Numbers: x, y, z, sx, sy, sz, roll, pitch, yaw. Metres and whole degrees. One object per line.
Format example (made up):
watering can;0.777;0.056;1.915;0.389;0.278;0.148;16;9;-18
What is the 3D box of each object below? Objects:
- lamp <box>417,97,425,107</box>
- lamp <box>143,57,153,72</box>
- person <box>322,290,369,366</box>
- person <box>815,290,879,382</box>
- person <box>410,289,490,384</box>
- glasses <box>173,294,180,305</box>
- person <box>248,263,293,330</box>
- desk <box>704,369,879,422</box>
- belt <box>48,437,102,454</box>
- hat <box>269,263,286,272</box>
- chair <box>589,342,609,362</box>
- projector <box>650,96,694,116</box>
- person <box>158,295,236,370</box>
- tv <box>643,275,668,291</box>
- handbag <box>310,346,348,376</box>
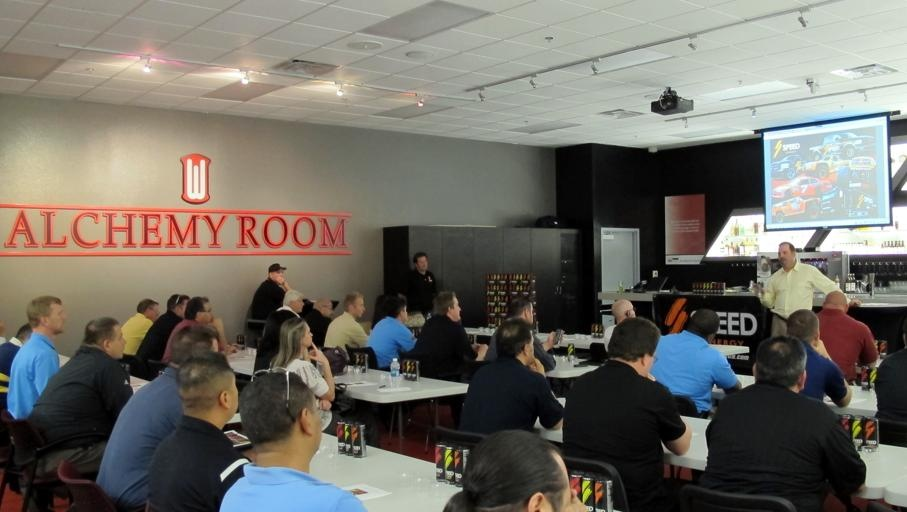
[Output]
lamp;-0.629;-2.883;11.287;0.091;0.143;0.111;0;-1;-32
lamp;-4.642;-2.900;9.073;0.133;0.197;0.130;7;-11;-44
person;-1.493;1.144;8.909;0.681;1.194;0.624;-6;17;-31
person;4.853;0.987;7.381;0.703;1.270;0.793;10;36;36
person;-0.118;1.199;9.160;0.902;1.620;1.173;14;17;42
glasses;-4.191;0.648;9.082;0.108;0.123;0.061;3;-23;-8
person;-3.649;0.811;12.085;0.867;1.462;0.685;-2;33;-13
desk;2.892;1.186;5.114;0.393;0.183;0.852;-3;4;-38
belt;-3.536;1.739;5.609;0.230;0.078;0.196;-2;-2;-15
hat;-3.505;0.208;11.873;0.271;0.140;0.173;-16;-4;13
chair;2.136;1.405;8.910;0.308;0.312;0.298;6;-8;-39
projector;3.809;-2.595;10.390;0.527;0.294;0.521;-2;2;-38
person;-3.538;1.354;8.235;0.843;1.448;0.737;1;-12;-34
tv;4.739;0.630;14.056;0.314;0.298;0.434;-13;1;-5
handbag;-1.550;1.307;7.608;0.379;0.276;0.366;0;-4;20
